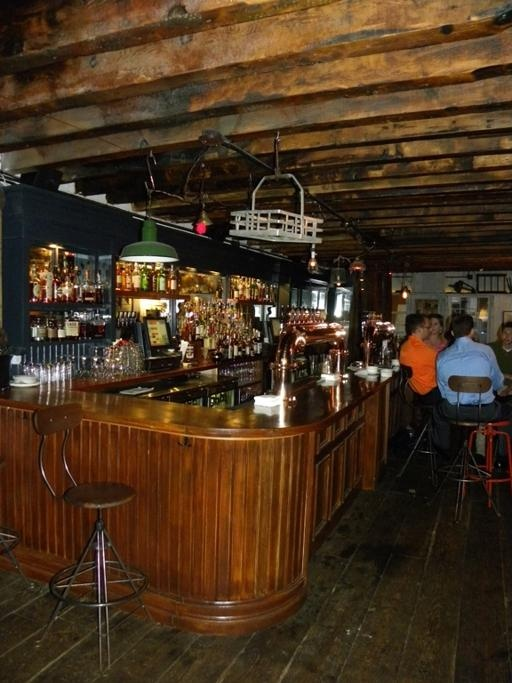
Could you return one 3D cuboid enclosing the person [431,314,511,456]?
[{"bbox_3d":[1.715,0.390,4.481,0.585,1.197,0.849,2,4,16],"label":"person"}]

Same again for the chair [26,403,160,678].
[{"bbox_3d":[-0.896,0.817,2.698,0.834,1.061,0.572,2,4,20],"label":"chair"}]

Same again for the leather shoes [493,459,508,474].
[{"bbox_3d":[2.247,1.156,5.216,0.094,0.090,0.170,11,-1,20],"label":"leather shoes"}]
